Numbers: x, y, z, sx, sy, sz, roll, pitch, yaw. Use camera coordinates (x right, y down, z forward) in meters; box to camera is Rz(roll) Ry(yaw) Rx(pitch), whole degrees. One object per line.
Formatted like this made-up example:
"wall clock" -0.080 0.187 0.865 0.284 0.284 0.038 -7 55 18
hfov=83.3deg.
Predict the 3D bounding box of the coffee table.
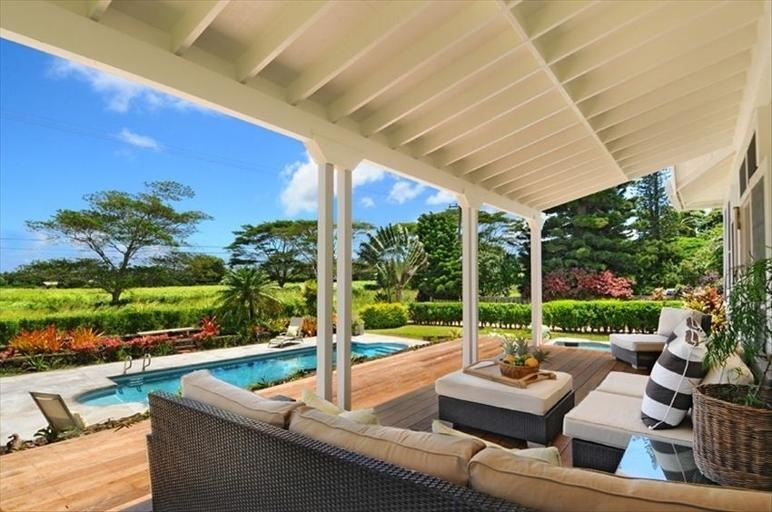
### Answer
"coffee table" 1.483 1.525 4.922 0.989 0.479 0.926 -2 -7 35

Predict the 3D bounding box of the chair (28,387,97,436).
"chair" -3.972 1.912 5.292 0.589 0.518 0.321 -4 -4 20

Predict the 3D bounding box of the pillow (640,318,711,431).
"pillow" 2.715 1.132 4.074 0.606 0.937 1.282 -2 -7 33

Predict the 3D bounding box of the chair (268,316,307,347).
"chair" -2.813 2.204 12.196 0.624 0.601 0.949 -6 -9 27
